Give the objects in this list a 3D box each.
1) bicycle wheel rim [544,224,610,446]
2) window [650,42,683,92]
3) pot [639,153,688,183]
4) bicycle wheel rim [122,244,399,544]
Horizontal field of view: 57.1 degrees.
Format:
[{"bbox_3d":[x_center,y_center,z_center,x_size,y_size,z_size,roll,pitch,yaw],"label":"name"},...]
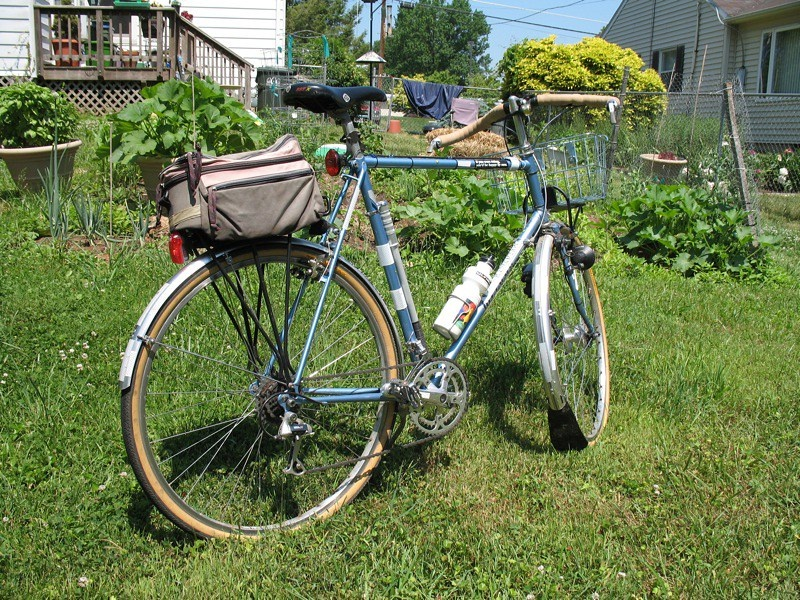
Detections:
[{"bbox_3d":[1.075,0.270,4.507,0.368,1.385,1.265,-2,11,17],"label":"bicycle wheel rim"},{"bbox_3d":[7.529,-6.493,20.415,1.185,1.547,0.097,8,47,38],"label":"window"},{"bbox_3d":[3.773,-1.934,10.645,0.606,0.324,0.627,6,14,-2],"label":"pot"},{"bbox_3d":[-0.737,0.377,3.966,1.375,1.468,0.866,-3,15,-15],"label":"bicycle wheel rim"}]
